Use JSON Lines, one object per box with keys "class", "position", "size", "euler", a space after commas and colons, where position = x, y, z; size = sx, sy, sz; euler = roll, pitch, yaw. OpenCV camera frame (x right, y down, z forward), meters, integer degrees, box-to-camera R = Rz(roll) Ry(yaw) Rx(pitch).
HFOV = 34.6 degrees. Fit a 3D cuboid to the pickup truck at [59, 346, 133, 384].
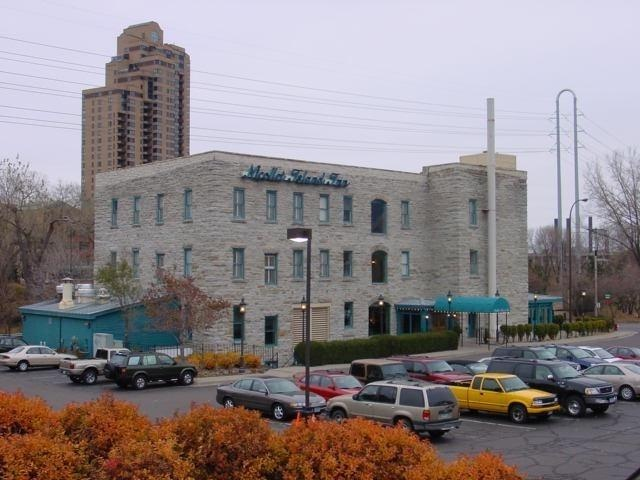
{"class": "pickup truck", "position": [-13.310, 7.752, 61.572], "size": [4.065, 1.611, 1.984], "euler": [-3, 4, -41]}
